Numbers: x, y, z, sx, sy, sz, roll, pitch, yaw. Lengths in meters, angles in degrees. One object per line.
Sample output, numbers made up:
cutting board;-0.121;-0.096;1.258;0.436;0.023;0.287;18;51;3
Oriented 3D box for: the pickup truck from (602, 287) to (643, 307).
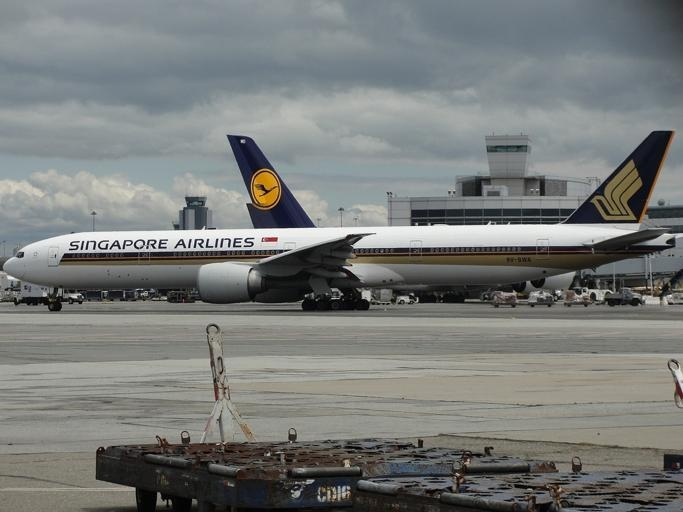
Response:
pickup truck;18.060;2.629;74.735;2.361;0.864;1.419;-1;2;-2
